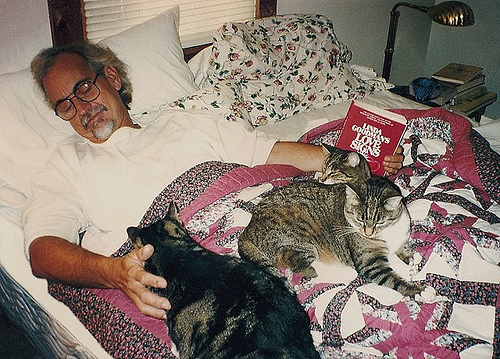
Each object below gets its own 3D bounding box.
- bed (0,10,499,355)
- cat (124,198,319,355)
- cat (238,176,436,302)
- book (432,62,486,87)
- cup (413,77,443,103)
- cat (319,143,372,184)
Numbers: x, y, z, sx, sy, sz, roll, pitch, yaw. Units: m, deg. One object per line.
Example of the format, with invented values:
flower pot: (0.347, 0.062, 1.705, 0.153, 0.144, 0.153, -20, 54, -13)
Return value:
bed: (0.161, -0.047, 2.045, 1.902, 0.570, 1.445, 38, 57, 24)
cat: (-0.160, 0.393, 1.595, 0.695, 0.341, 0.257, 36, 52, 23)
cat: (0.330, 0.156, 1.611, 0.694, 0.325, 0.512, 5, 27, 19)
book: (1.217, -0.664, 2.673, 0.203, 0.042, 0.203, -34, 39, -29)
cup: (0.981, -0.499, 2.575, 0.185, 0.134, 0.127, 2, 48, 20)
cat: (0.385, -0.063, 1.842, 0.189, 0.086, 0.119, -19, 40, -21)
